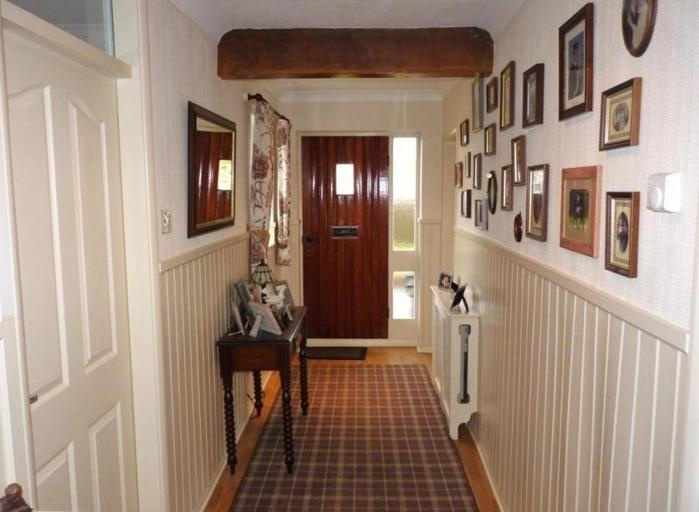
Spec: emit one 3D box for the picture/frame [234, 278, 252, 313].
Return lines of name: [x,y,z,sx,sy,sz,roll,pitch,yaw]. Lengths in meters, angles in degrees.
picture/frame: [-0.713,0.261,3.498,0.052,0.216,0.103,-23,3,-43]

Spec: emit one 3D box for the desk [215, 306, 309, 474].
desk: [-0.591,0.889,3.697,0.480,0.877,0.838,0,11,2]

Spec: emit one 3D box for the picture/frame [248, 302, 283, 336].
picture/frame: [-0.536,0.415,3.403,0.054,0.212,0.204,-29,23,-38]
